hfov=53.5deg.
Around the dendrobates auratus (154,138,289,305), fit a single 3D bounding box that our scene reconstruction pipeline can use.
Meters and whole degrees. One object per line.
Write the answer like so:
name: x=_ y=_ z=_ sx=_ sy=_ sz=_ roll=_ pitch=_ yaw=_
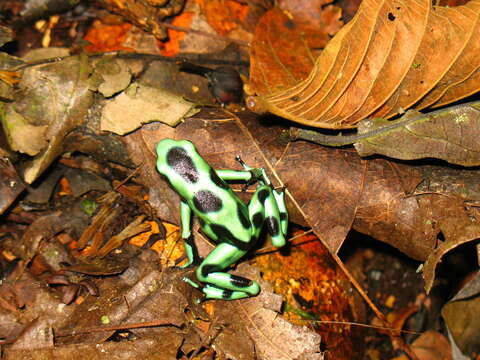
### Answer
dendrobates auratus: x=-0.255 y=0.369 z=5.925 sx=1.929 sy=0.679 sz=1.808 roll=43 pitch=80 yaw=4
